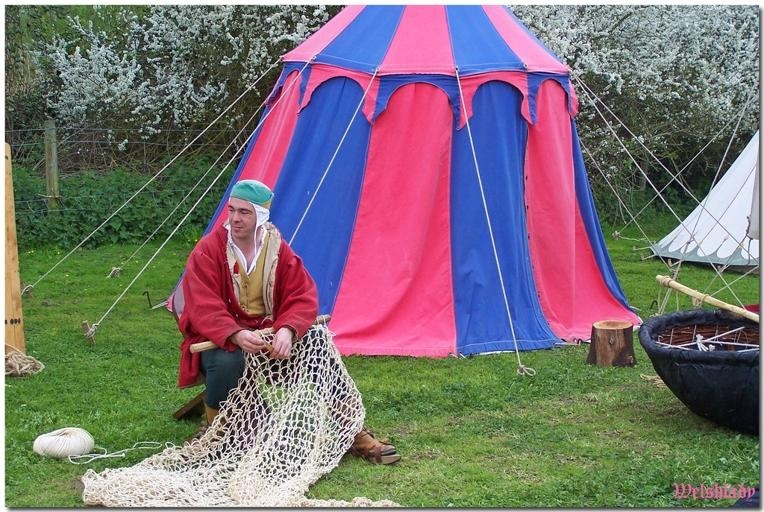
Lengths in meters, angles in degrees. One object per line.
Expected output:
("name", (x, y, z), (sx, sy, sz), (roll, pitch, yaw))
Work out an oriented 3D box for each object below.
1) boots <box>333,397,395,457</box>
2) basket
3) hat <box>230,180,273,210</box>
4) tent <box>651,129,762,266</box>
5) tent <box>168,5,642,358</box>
("boots", (-0.102, 1.470, 5.670), (0.233, 0.326, 0.678), (-8, -4, -27))
("basket", (2.639, 0.925, 5.951), (0.908, 0.883, 0.915), (6, 5, 22))
("hat", (-0.994, -0.441, 5.517), (0.239, 0.147, 0.246), (21, -2, 4))
("tent", (4.786, -0.804, 10.162), (1.072, 1.910, 1.883), (4, 5, 2))
("tent", (0.423, -0.828, 8.826), (3.872, 4.057, 3.823), (-2, 10, -14))
